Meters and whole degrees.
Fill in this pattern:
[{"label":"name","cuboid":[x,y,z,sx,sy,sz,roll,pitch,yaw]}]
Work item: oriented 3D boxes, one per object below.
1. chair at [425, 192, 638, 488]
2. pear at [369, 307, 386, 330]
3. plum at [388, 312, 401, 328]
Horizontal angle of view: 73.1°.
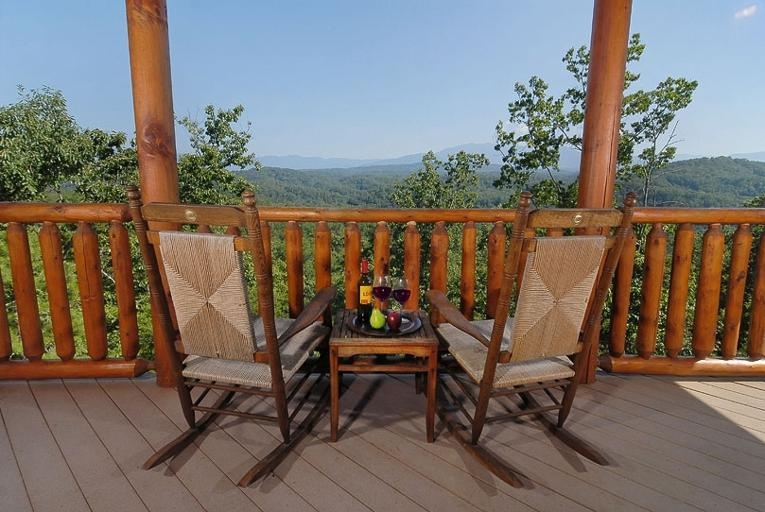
[{"label":"chair","cuboid":[0.951,0.483,3.296,1.127,1.786,0.670,-2,13,-8]},{"label":"pear","cuboid":[-0.036,0.433,3.521,0.125,0.162,0.120,-10,10,-10]},{"label":"plum","cuboid":[0.076,0.436,3.482,0.098,0.108,0.094,0,-4,-13]}]
